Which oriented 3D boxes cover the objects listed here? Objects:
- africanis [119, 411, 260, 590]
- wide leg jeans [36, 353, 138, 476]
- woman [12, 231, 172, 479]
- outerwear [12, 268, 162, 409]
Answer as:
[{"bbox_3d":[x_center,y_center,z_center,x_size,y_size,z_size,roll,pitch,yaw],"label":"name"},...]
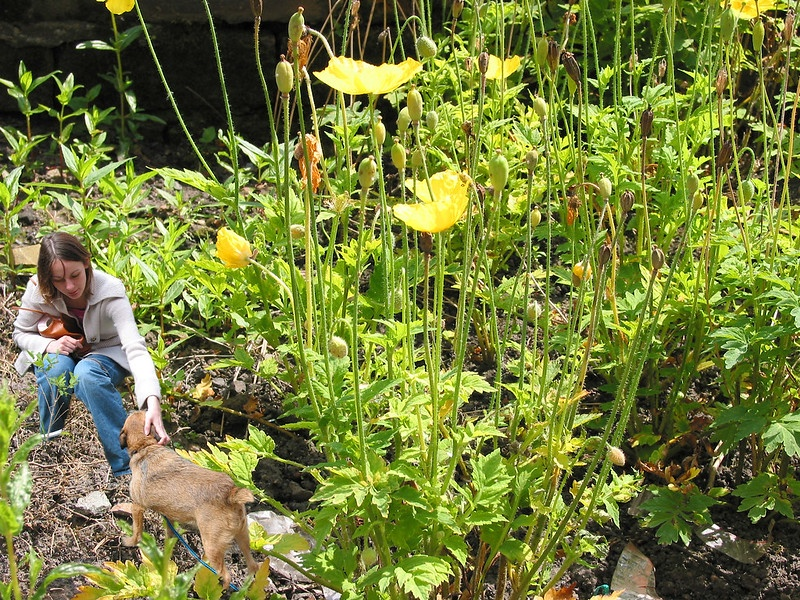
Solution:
[{"bbox_3d":[-0.858,0.795,3.263,0.796,0.489,0.221,17,22,31],"label":"africanis"},{"bbox_3d":[-1.392,0.509,3.648,0.368,0.365,0.431,-6,45,-27],"label":"wide leg jeans"},{"bbox_3d":[-1.363,0.272,3.718,0.531,1.032,1.065,-12,30,-37],"label":"woman"},{"bbox_3d":[-1.411,0.179,3.727,0.518,0.517,0.433,3,46,4],"label":"outerwear"}]
